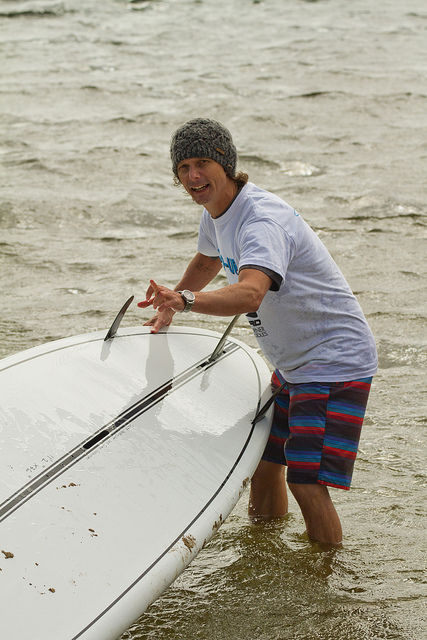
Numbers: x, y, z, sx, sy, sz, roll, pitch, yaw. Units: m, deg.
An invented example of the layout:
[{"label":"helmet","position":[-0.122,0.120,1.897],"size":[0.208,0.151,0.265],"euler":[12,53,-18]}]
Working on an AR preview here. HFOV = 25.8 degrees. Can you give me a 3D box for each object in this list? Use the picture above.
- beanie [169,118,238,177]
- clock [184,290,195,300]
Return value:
[{"label":"beanie","position":[-0.031,-0.670,3.694],"size":[0.258,0.205,0.308],"euler":[-1,-4,23]},{"label":"clock","position":[-0.085,-0.087,3.249],"size":[0.036,0.027,0.032],"euler":[3,10,-3]}]
